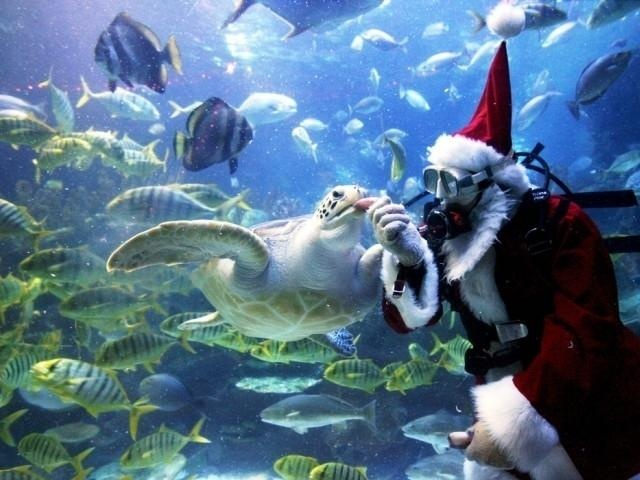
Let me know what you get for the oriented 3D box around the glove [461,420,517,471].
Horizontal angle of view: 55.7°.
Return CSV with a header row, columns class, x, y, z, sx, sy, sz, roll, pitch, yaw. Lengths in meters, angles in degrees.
class,x,y,z,sx,sy,sz,roll,pitch,yaw
glove,2.896,3.673,10.733,0.687,0.881,0.363,-22,21,8
